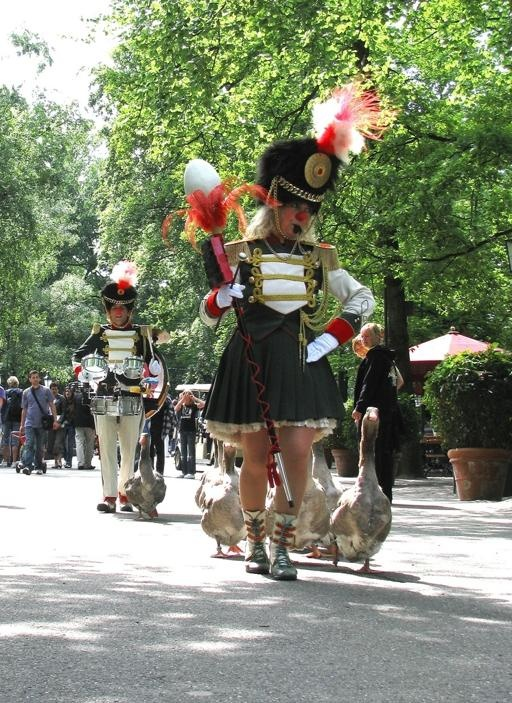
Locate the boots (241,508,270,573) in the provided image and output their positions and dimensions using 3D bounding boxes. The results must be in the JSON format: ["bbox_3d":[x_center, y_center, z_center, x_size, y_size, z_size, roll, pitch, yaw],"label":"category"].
[{"bbox_3d":[0.011,1.066,4.402,0.180,0.310,0.358,-4,10,-4],"label":"boots"}]

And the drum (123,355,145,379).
[{"bbox_3d":[-1.380,0.191,8.867,0.285,0.233,0.241,7,-41,-11],"label":"drum"}]

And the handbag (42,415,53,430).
[{"bbox_3d":[-4.503,1.549,17.043,0.215,0.302,0.309,0,-4,-13],"label":"handbag"}]

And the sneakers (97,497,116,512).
[{"bbox_3d":[-1.627,1.685,8.568,0.192,0.162,0.401,0,-4,-10],"label":"sneakers"}]

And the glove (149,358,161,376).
[{"bbox_3d":[-1.189,0.198,9.243,0.166,0.176,0.069,-5,1,-14],"label":"glove"}]

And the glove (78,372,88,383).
[{"bbox_3d":[-1.935,0.289,8.818,0.154,0.114,0.078,0,-8,-25],"label":"glove"}]

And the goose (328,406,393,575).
[{"bbox_3d":[0.551,0.737,4.292,0.314,0.836,0.391,-2,-4,5],"label":"goose"}]

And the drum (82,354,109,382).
[{"bbox_3d":[-1.786,0.200,8.788,0.294,0.304,0.229,0,-4,-13],"label":"drum"}]

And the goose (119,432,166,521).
[{"bbox_3d":[-1.116,1.263,7.897,0.394,0.861,0.609,-1,-4,-9],"label":"goose"}]

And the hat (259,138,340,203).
[{"bbox_3d":[0.242,-1.036,4.684,0.430,0.319,0.457,7,6,-19],"label":"hat"}]

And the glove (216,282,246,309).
[{"bbox_3d":[-0.143,-0.305,4.323,0.153,0.128,0.189,-1,-4,0],"label":"glove"}]

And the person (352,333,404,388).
[{"bbox_3d":[1.361,0.125,9.697,0.628,0.748,0.323,24,-47,-22],"label":"person"}]
